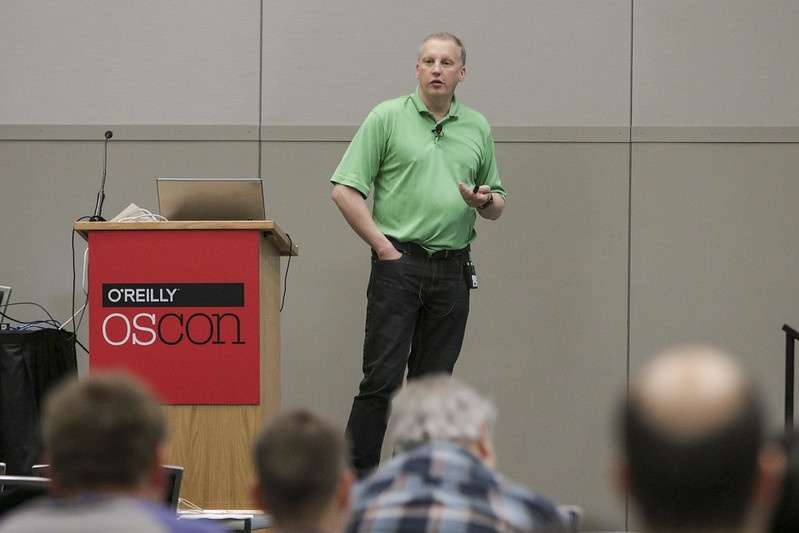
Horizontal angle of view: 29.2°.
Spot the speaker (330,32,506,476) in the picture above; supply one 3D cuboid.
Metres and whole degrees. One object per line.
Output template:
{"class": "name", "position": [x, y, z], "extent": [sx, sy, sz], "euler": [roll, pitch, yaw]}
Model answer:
{"class": "speaker", "position": [0.087, -0.083, 8.139], "extent": [0.713, 2.287, 0.902], "euler": [0, 2, -2]}

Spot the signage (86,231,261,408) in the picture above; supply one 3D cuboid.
{"class": "signage", "position": [-1.096, 0.276, 7.601], "extent": [0.786, 0.842, 0.819], "euler": [0, -5, -2]}

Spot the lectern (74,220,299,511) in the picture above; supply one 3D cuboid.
{"class": "lectern", "position": [-1.096, 0.423, 7.750], "extent": [0.847, 1.454, 0.907], "euler": [2, 3, 0]}

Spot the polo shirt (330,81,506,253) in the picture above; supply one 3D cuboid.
{"class": "polo shirt", "position": [0.134, -0.521, 8.182], "extent": [0.853, 0.778, 0.381], "euler": [4, -5, -19]}
